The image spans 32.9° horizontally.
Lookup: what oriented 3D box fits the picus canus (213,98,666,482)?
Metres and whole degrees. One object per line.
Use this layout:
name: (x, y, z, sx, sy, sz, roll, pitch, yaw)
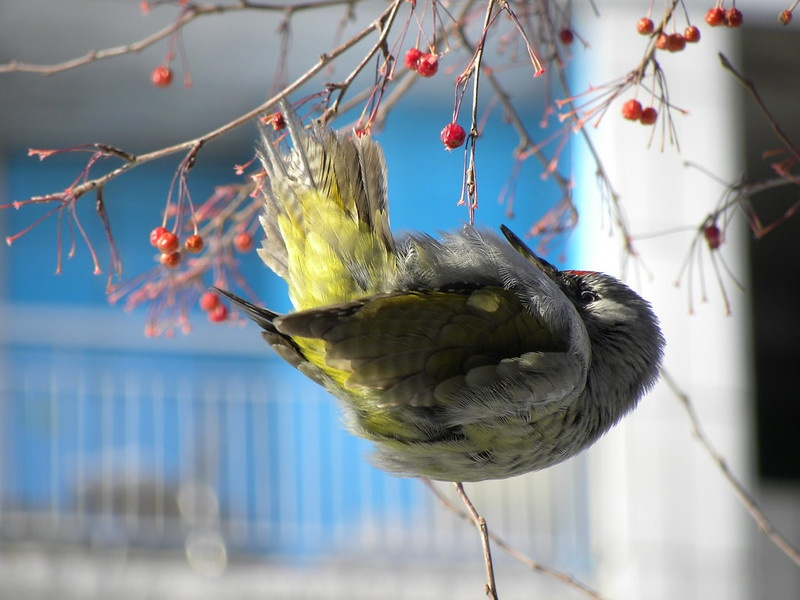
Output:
picus canus: (0.191, 0.023, 5.676, 1.714, 1.445, 0.686, 4, 31, 6)
